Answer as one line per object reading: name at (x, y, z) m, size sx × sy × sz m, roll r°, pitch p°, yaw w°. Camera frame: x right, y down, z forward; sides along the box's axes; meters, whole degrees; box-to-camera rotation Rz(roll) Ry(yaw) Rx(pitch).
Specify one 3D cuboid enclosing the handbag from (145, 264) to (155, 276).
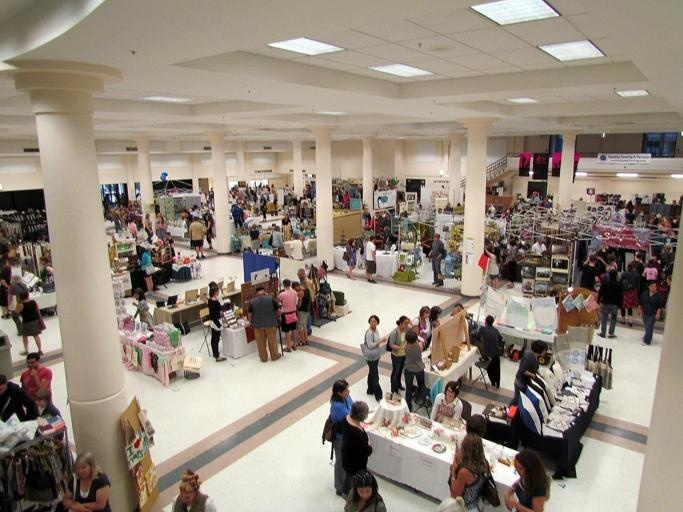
handbag at (-5.623, 0.392, 13.206) m, size 0.218 × 0.235 × 0.053 m, roll 5°, pitch -28°, yaw -42°

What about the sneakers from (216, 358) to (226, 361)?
sneakers at (-2.466, 2.088, 9.232) m, size 0.193 × 0.085 × 0.068 m, roll -5°, pitch 15°, yaw -20°

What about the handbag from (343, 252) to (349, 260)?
handbag at (0.158, -0.008, 14.659) m, size 0.051 × 0.225 × 0.209 m, roll 5°, pitch 0°, yaw -38°

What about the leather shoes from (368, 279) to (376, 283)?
leather shoes at (0.955, 0.751, 14.114) m, size 0.238 × 0.124 × 0.087 m, roll 2°, pitch 14°, yaw 13°
